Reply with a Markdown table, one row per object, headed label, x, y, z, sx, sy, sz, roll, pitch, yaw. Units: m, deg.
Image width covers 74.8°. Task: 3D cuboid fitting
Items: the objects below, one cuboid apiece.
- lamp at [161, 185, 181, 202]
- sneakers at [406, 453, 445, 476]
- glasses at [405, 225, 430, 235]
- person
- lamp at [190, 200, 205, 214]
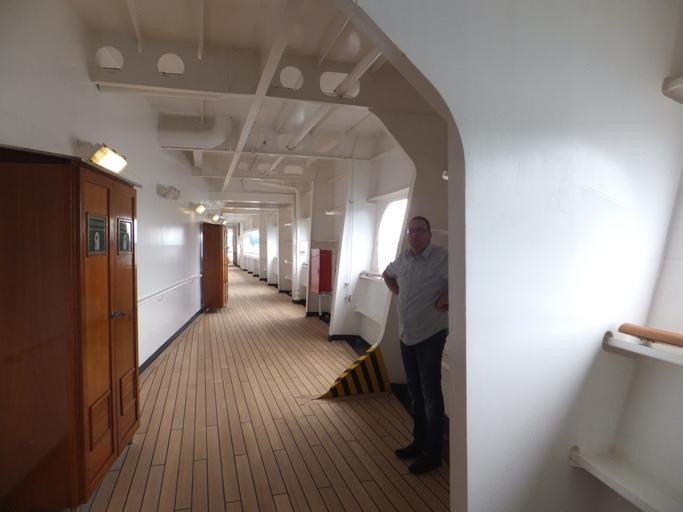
| label | x | y | z | sx | sy | sz | roll | pitch | yaw |
| --- | --- | --- | --- | --- | --- | --- | --- | --- | --- |
| lamp | -2.673 | -0.991 | 6.946 | 0.264 | 0.222 | 0.103 | 15 | 46 | 39 |
| sneakers | 0.686 | 1.706 | 3.646 | 0.274 | 0.130 | 0.128 | 2 | -4 | -14 |
| glasses | 0.635 | -0.217 | 3.683 | 0.111 | 0.047 | 0.158 | -2 | -9 | 7 |
| person | 0.628 | 0.724 | 3.720 | 0.567 | 2.081 | 0.359 | 4 | 6 | 31 |
| lamp | -3.174 | -1.055 | 9.934 | 0.182 | 0.292 | 1.164 | -1 | 6 | -12 |
